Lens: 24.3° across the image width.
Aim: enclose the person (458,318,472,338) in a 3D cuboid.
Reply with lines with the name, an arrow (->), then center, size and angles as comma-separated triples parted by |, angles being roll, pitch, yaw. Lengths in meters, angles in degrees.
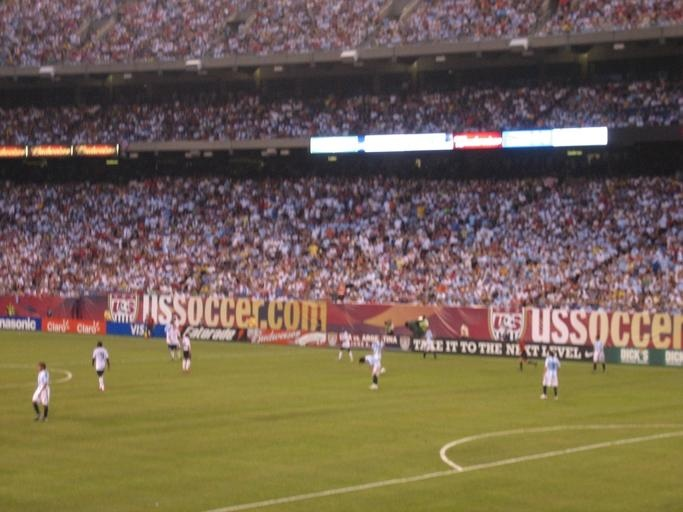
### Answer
person -> 7.405, 4.293, 94.894 | 0.708, 1.120, 0.410 | -3, -3, 7
